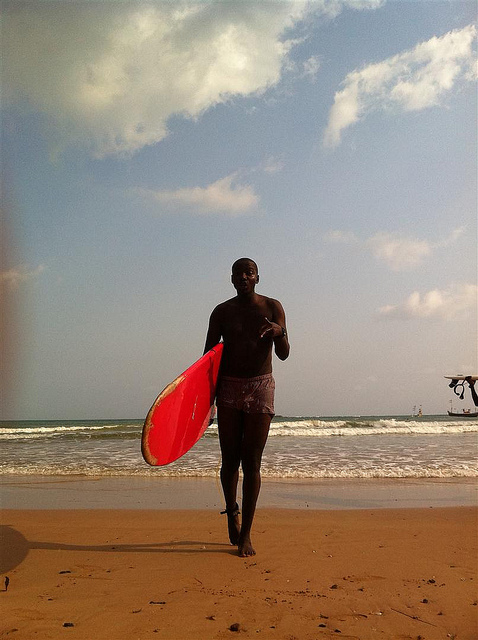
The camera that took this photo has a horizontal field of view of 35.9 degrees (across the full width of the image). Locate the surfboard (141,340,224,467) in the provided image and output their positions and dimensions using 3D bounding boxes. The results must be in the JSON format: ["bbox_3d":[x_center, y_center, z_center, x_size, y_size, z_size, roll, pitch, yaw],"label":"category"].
[{"bbox_3d":[-0.333,0.489,4.420,0.391,0.765,0.916,-1,-6,9],"label":"surfboard"}]

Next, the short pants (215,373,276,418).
[{"bbox_3d":[0.059,0.464,4.602,0.391,0.257,0.217,1,-5,24],"label":"short pants"}]
